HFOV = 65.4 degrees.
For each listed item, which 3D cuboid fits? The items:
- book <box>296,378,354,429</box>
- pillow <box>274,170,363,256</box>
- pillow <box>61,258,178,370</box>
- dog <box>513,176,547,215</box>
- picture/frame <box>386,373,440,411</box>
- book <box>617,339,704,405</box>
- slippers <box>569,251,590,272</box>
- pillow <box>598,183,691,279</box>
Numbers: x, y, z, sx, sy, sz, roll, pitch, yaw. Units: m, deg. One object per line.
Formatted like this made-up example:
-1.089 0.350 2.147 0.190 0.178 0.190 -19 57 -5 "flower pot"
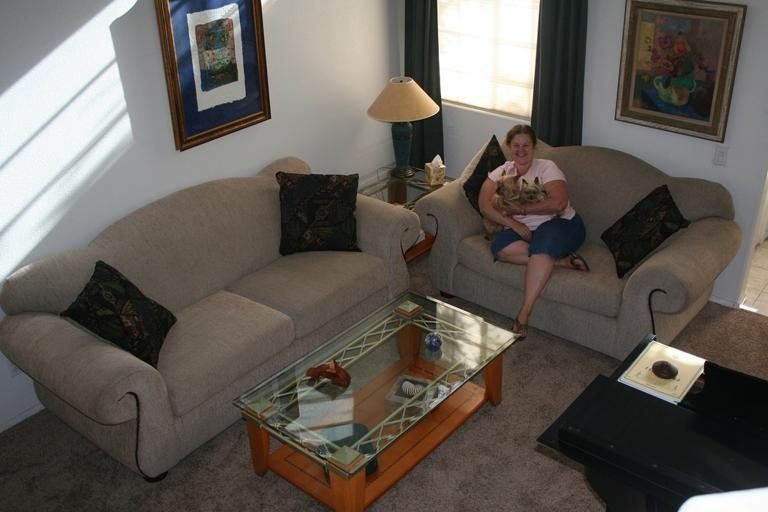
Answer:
-0.347 0.873 3.547 0.319 0.054 0.341 -5 33 -5 "book"
-0.524 -0.310 4.670 0.658 0.651 0.236 0 2 -5 "pillow"
-1.650 0.359 3.835 0.642 0.476 0.424 13 36 22 "pillow"
1.118 -0.455 4.514 0.185 0.215 0.273 -11 16 22 "dog"
0.165 0.817 3.603 0.184 0.044 0.173 10 27 24 "picture/frame"
1.499 0.638 3.224 0.331 0.072 0.359 20 44 32 "book"
1.436 0.061 4.401 0.087 0.050 0.189 -24 52 -1 "slippers"
1.886 -0.185 4.338 0.561 0.497 0.415 -9 34 -10 "pillow"
